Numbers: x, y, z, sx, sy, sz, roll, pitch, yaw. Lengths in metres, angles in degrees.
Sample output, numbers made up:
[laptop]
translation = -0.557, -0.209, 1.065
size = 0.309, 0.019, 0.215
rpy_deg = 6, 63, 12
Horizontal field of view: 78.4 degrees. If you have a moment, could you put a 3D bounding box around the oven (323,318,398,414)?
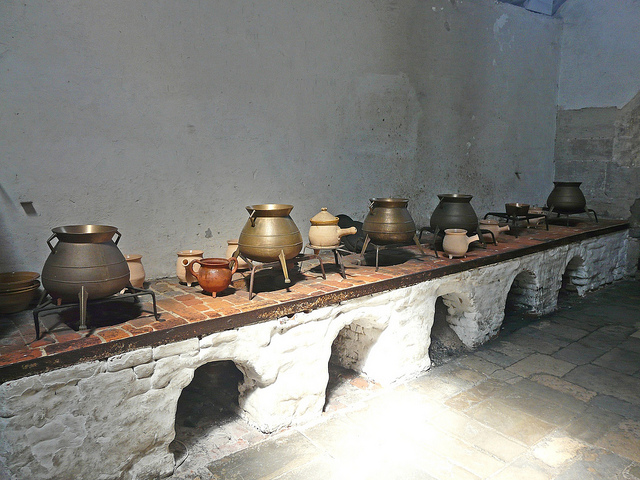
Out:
[oven]
translation = 0.135, 0.927, 3.210
size = 0.677, 0.537, 0.629
rpy_deg = -9, 13, -33
